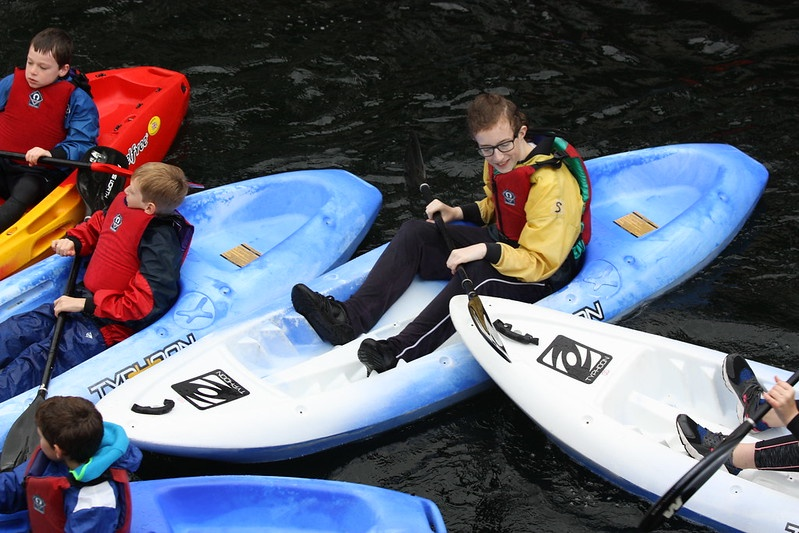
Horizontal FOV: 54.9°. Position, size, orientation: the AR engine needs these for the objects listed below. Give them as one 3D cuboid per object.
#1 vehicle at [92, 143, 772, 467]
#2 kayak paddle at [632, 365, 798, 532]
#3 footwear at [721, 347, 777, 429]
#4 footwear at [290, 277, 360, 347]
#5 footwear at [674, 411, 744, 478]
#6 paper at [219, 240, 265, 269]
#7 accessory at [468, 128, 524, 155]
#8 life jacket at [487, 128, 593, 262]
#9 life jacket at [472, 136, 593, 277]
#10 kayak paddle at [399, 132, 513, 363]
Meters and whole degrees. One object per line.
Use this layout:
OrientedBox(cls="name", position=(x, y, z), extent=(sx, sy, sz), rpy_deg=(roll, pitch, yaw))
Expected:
OrientedBox(cls="vehicle", position=(0.944, 0.418, 4.913), extent=(4.956, 0.733, 1.485), rpy_deg=(-21, 41, -16))
OrientedBox(cls="kayak paddle", position=(1.567, 0.916, 3.738), extent=(1.219, 0.160, 0.085), rpy_deg=(-39, 6, -6))
OrientedBox(cls="footwear", position=(1.733, 0.610, 3.910), extent=(0.181, 0.394, 0.195), rpy_deg=(-11, -5, -17))
OrientedBox(cls="footwear", position=(-0.400, 0.299, 4.358), extent=(0.189, 0.512, 0.239), rpy_deg=(-22, 27, 55))
OrientedBox(cls="footwear", position=(1.514, 0.882, 3.849), extent=(0.422, 0.172, 0.141), rpy_deg=(30, 41, -10))
OrientedBox(cls="paper", position=(-0.977, -0.076, 4.783), extent=(0.190, 0.008, 0.169), rpy_deg=(32, 46, 33))
OrientedBox(cls="accessory", position=(0.565, -0.663, 4.153), extent=(0.229, 0.121, 0.068), rpy_deg=(-12, 39, -4))
OrientedBox(cls="life jacket", position=(0.774, -0.384, 4.243), extent=(0.462, 0.558, 0.563), rpy_deg=(-16, 53, -6))
OrientedBox(cls="life jacket", position=(0.753, -0.319, 4.270), extent=(0.540, 0.559, 0.632), rpy_deg=(-11, 46, -7))
OrientedBox(cls="kayak paddle", position=(0.251, -0.084, 4.478), extent=(0.292, 0.218, 2.127), rpy_deg=(-8, 53, -13))
